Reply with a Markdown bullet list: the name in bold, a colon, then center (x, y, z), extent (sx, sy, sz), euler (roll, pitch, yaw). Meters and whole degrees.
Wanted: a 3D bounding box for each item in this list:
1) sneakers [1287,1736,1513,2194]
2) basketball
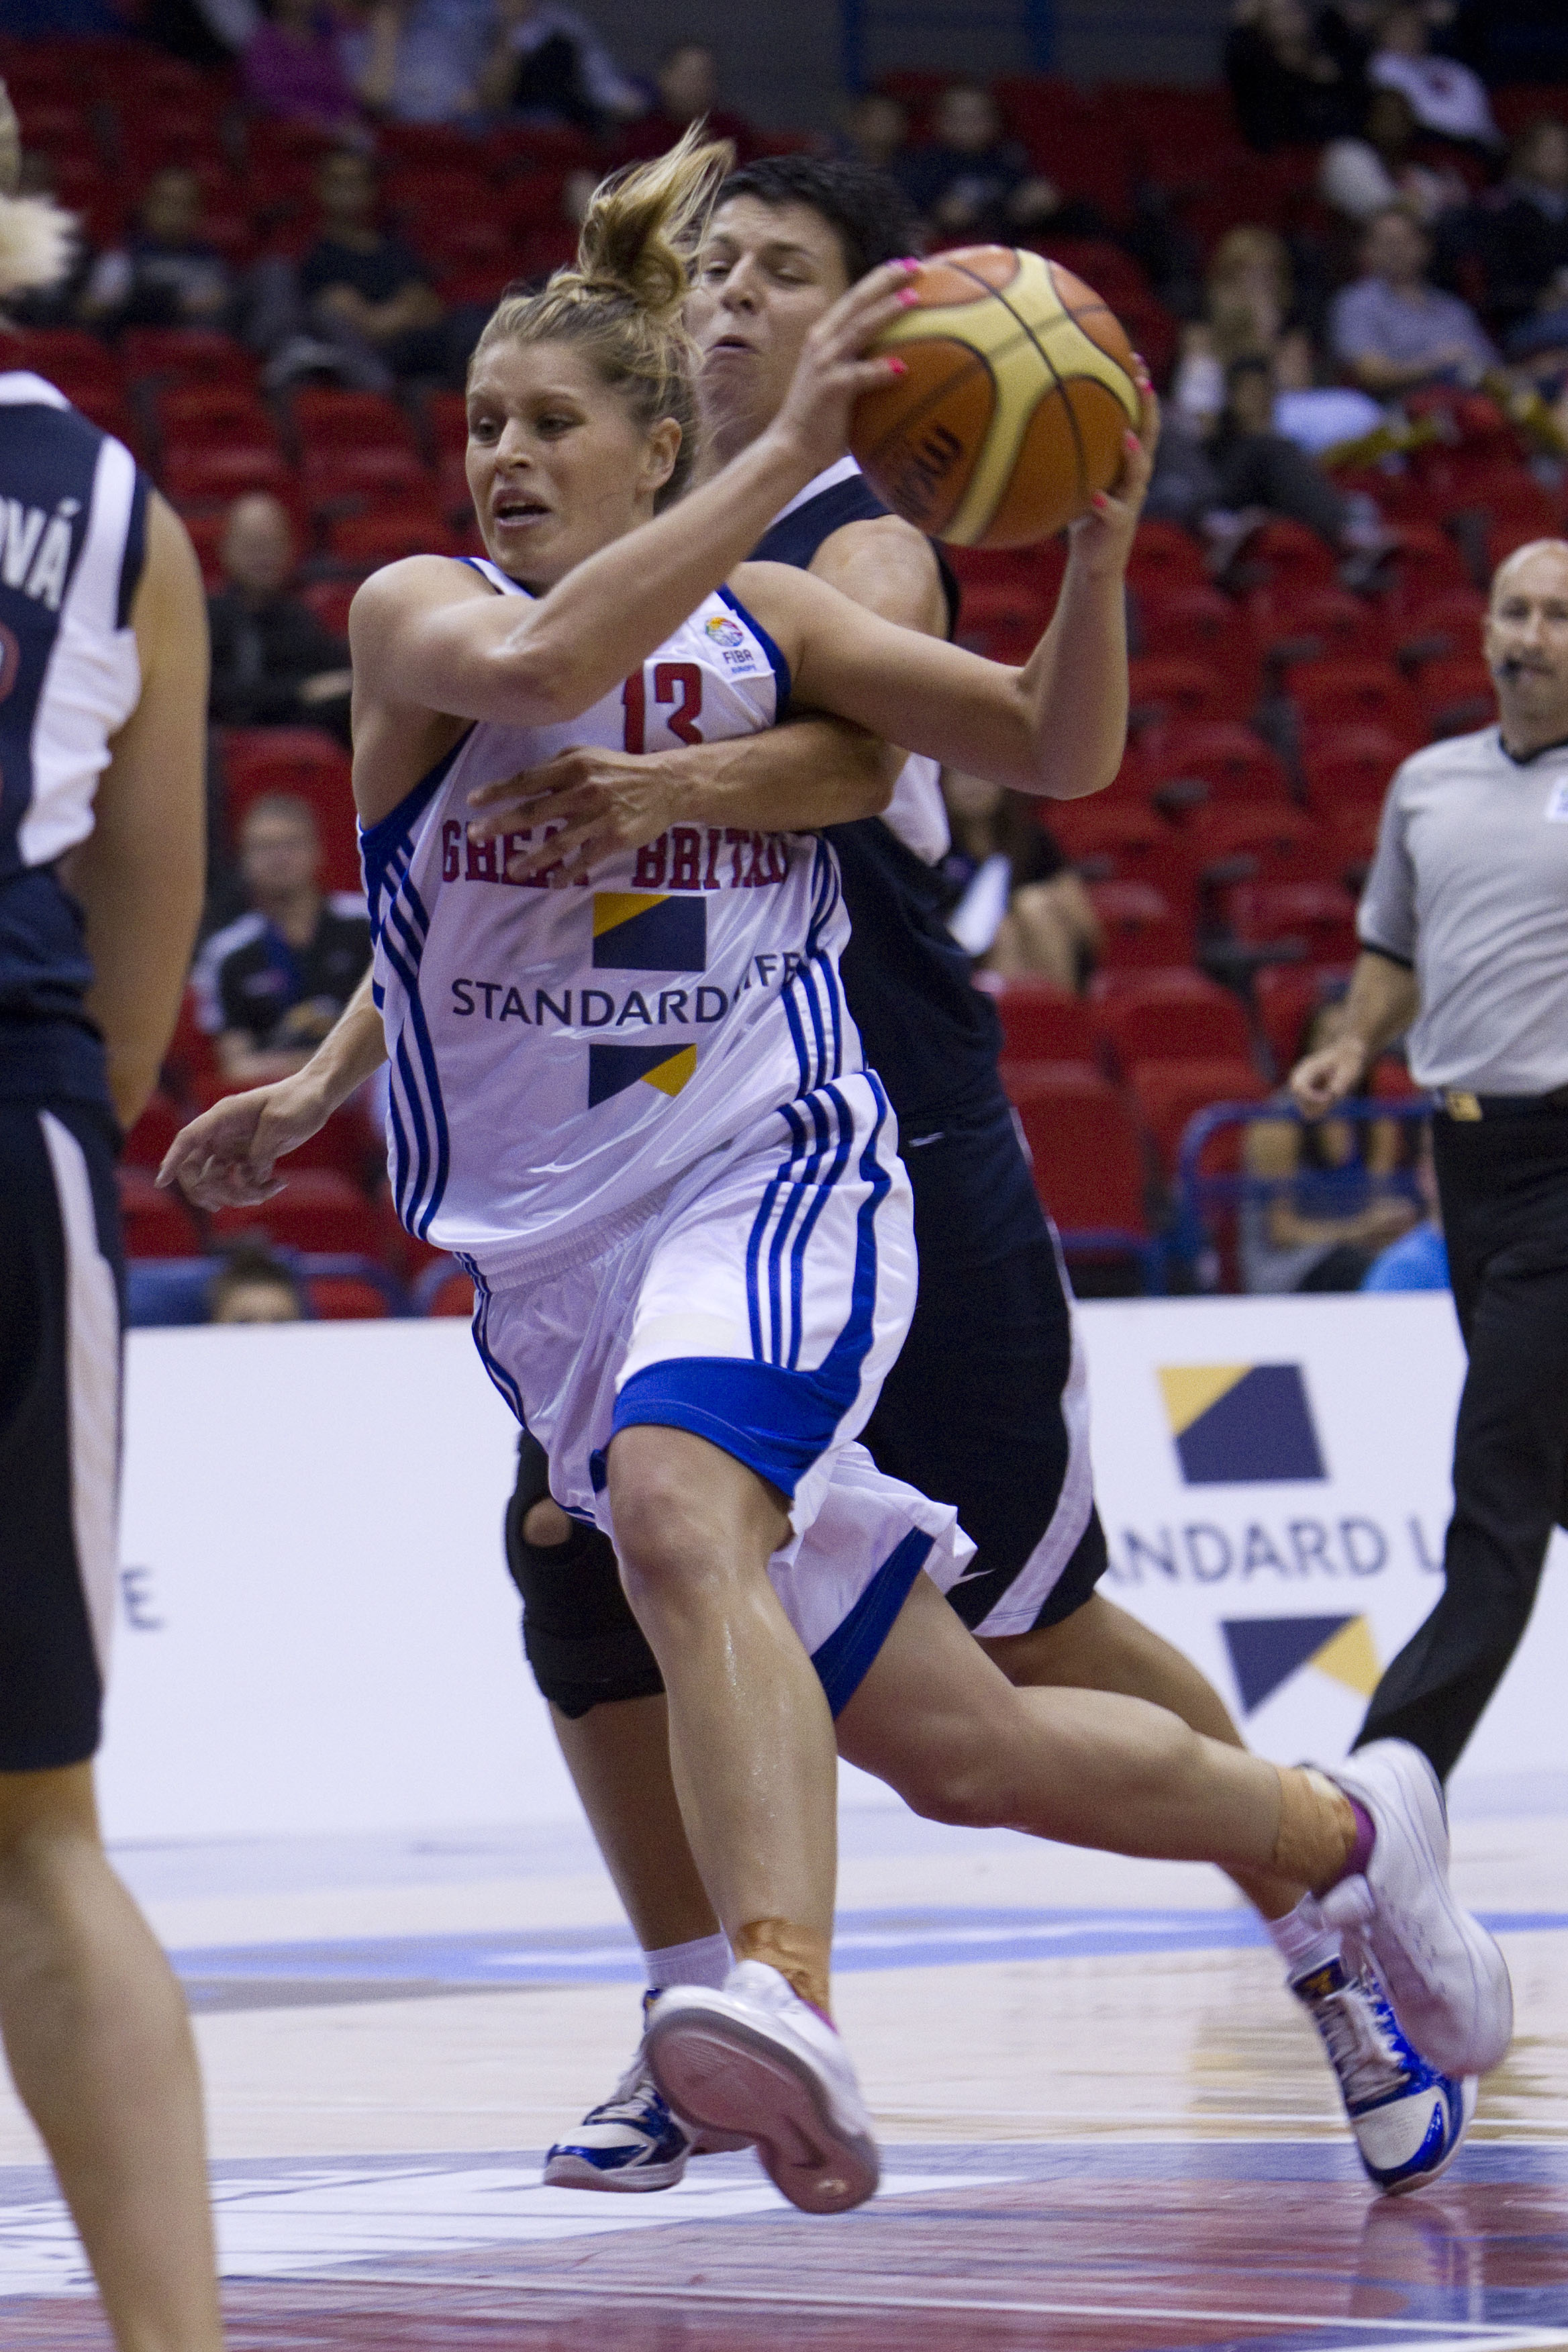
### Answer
- **sneakers**: center (0.580, 0.781, 2.742), extent (0.172, 0.447, 0.204), euler (-23, -16, 38)
- **basketball**: center (0.169, -0.650, 2.227), extent (0.276, 0.239, 0.133), euler (3, -8, -28)
